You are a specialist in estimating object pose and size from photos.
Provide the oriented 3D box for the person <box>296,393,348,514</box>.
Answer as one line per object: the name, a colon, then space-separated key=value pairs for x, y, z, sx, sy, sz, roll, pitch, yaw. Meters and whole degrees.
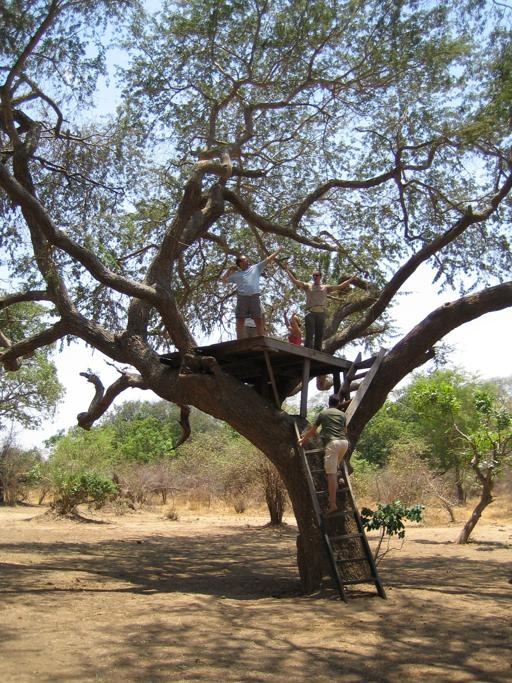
person: x=0.891 y=1.409 z=7.613 sx=0.608 sy=1.493 sz=0.763 roll=-4 pitch=-12 yaw=7
